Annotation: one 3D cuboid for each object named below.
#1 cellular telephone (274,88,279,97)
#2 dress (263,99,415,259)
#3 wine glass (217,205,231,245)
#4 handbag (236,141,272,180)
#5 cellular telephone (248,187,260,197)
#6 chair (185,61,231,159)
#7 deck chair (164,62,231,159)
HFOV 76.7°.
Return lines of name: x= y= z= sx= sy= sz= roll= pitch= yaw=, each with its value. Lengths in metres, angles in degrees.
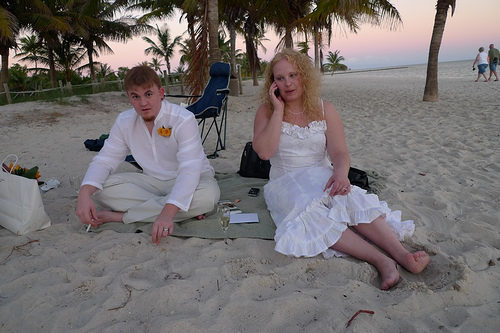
cellular telephone: x=0.279 y=-0.755 z=3.269 sx=0.047 sy=0.069 sz=0.018 roll=-6 pitch=12 yaw=-25
dress: x=0.795 y=0.088 z=3.038 sx=1.252 sy=1.248 sz=0.889 roll=-4 pitch=17 yaw=-4
wine glass: x=-0.254 y=0.532 z=3.163 sx=0.125 sy=0.278 sz=0.480 roll=-4 pitch=18 yaw=-5
handbag: x=0.043 y=-0.053 z=4.239 sx=0.481 sy=0.482 sz=0.374 roll=1 pitch=9 yaw=1
cellular telephone: x=0.041 y=0.303 z=3.767 sx=0.125 sy=0.056 sz=0.130 roll=1 pitch=18 yaw=13
chair: x=-0.784 y=-1.069 z=5.494 sx=0.901 sy=1.604 sz=0.989 roll=8 pitch=12 yaw=33
deck chair: x=-0.844 y=-1.049 z=5.401 sx=1.142 sy=1.583 sz=1.073 roll=-4 pitch=14 yaw=-26
